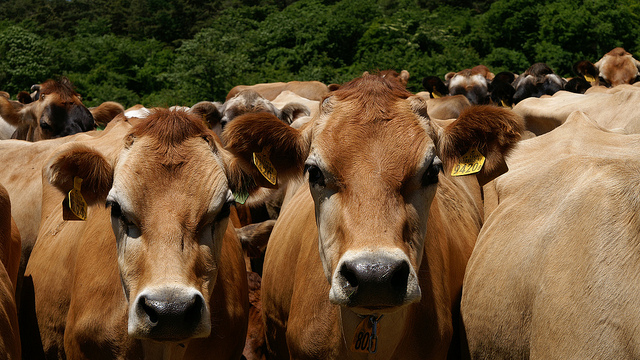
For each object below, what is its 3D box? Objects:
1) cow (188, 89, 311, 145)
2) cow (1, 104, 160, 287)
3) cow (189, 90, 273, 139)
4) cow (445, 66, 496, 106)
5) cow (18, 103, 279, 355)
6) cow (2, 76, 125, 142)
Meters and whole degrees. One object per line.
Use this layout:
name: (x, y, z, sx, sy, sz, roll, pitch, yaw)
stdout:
cow: (-1.469, -1.112, 18.443, 3.117, 1.522, 1.647, -7, 10, -7)
cow: (-4.640, 0.010, 14.778, 1.955, 2.418, 4.422, -11, -10, -43)
cow: (-1.984, -1.674, 18.402, 1.063, 0.883, 1.703, -19, -3, -16)
cow: (4.285, -2.677, 23.018, 0.961, 1.321, 2.508, 0, 11, 13)
cow: (-2.951, 0.882, 12.814, 3.563, 4.019, 1.660, 4, 9, 25)
cow: (-6.158, -1.784, 18.886, 1.847, 1.428, 2.694, -4, -4, -33)
